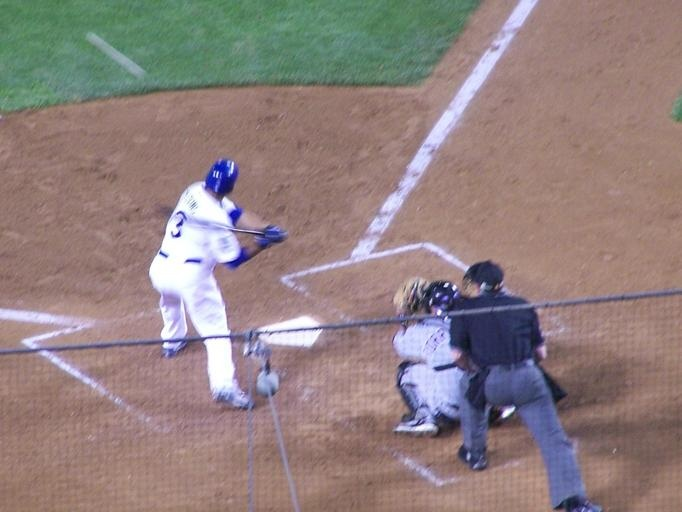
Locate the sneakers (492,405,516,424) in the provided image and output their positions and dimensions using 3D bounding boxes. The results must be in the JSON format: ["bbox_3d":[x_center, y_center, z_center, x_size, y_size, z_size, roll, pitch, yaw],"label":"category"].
[{"bbox_3d":[2.183,2.143,21.617,0.349,0.213,0.149,-20,19,-9],"label":"sneakers"}]

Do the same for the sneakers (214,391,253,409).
[{"bbox_3d":[-1.486,1.980,21.943,0.609,0.261,0.224,7,84,4],"label":"sneakers"}]
